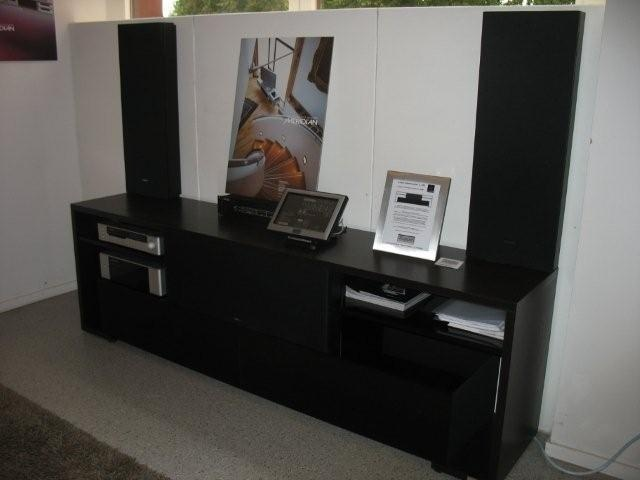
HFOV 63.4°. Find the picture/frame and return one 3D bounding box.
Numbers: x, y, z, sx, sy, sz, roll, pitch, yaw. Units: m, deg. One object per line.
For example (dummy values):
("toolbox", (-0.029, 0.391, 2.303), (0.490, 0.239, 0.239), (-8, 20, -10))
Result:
("picture/frame", (0.449, -0.108, 2.464), (0.368, 0.472, 0.032), (8, -7, 32))

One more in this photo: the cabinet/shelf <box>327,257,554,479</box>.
("cabinet/shelf", (0.599, 0.453, 2.609), (0.964, 0.967, 0.938), (11, 20, 33))
